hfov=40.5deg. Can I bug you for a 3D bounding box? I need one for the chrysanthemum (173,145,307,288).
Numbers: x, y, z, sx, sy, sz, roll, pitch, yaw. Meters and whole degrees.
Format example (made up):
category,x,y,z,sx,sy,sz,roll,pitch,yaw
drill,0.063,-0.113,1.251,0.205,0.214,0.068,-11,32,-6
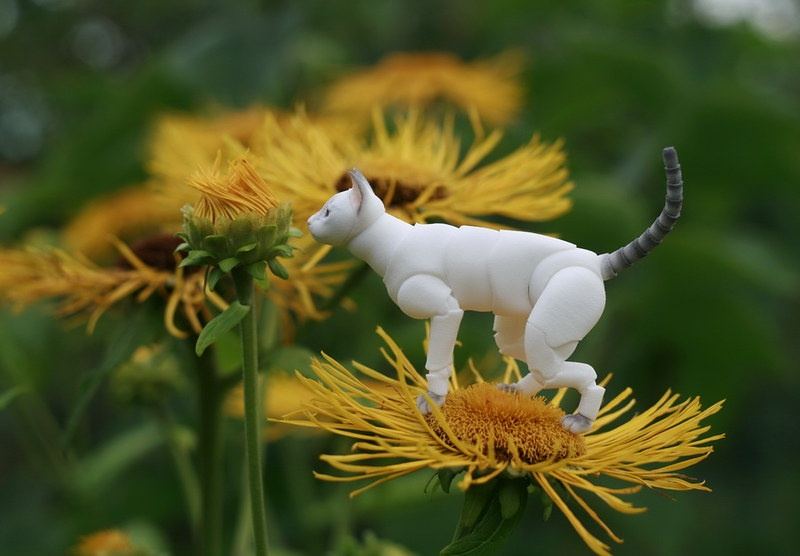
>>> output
category,x,y,z,sx,sy,sz,roll,pitch,yaw
chrysanthemum,-0.228,-0.072,1.645,0.180,0.194,0.188,-5,48,9
